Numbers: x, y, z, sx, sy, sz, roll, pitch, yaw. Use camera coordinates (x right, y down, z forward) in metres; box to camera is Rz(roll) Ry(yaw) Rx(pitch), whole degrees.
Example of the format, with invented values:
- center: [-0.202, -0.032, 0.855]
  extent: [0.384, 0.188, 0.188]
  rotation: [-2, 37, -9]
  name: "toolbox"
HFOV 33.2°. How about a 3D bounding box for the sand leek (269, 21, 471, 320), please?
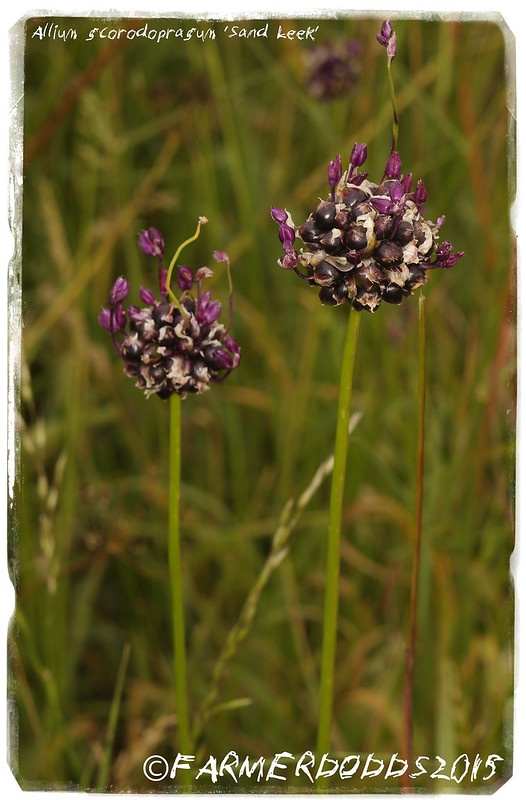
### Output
- center: [0.171, -0.236, 1.438]
  extent: [0.292, 0.610, 0.387]
  rotation: [6, 50, 7]
  name: "sand leek"
